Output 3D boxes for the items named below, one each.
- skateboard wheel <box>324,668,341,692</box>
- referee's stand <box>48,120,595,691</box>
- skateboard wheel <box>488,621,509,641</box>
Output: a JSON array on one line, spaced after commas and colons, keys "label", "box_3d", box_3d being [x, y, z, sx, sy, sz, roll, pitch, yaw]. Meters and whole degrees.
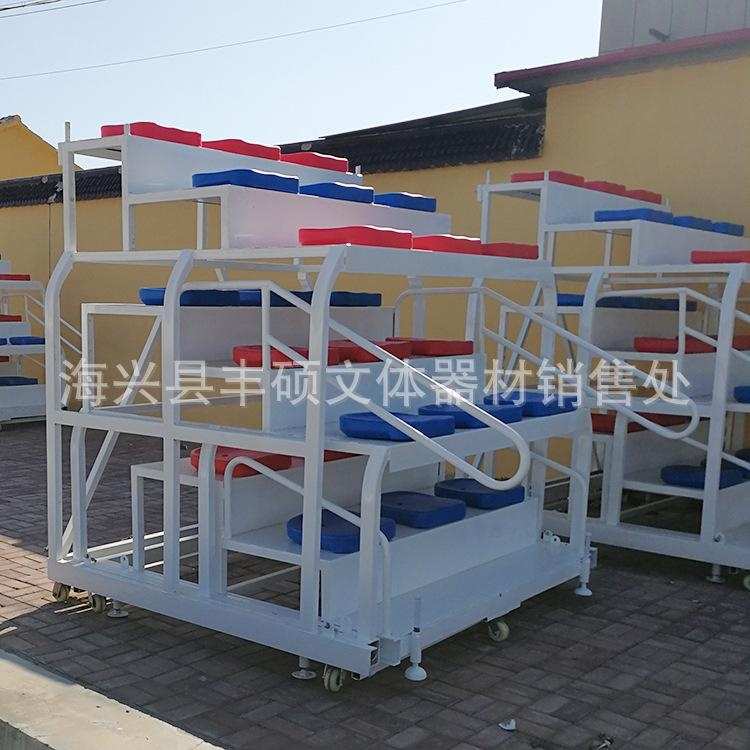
[{"label": "skateboard wheel", "box_3d": [-0.153, 1.122, 3.511, 0.068, 0.101, 0.056, 1, 6, -3]}, {"label": "referee's stand", "box_3d": [-0.098, -0.082, 4.881, 2.749, 2.191, 2.664, 1, 2, 37]}, {"label": "skateboard wheel", "box_3d": [0.524, 1.086, 4.023, 0.097, 0.085, 0.051, 3, 4, 43]}]
